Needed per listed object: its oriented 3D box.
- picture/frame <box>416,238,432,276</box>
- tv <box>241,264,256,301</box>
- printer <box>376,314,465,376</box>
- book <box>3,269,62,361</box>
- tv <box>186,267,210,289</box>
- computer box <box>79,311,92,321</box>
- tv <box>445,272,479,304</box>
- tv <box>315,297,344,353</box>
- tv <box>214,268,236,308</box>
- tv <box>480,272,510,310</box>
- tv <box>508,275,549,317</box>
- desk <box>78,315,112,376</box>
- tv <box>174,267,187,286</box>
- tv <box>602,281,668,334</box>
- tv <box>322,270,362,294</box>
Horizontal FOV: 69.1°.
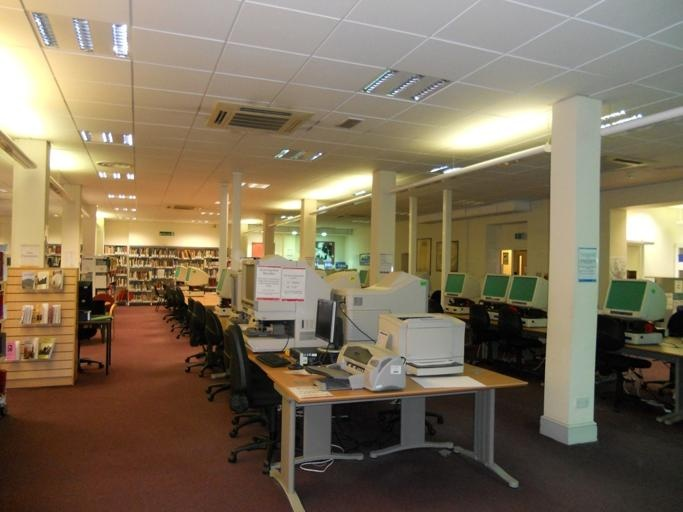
[{"bbox_3d":[2.847,-0.124,17.275,0.299,1.198,1.026,0,4,-10],"label":"picture/frame"},{"bbox_3d":[-1.076,0.282,5.760,0.239,0.433,0.456,1,-2,-11],"label":"tv"},{"bbox_3d":[0.741,0.767,4.823,0.689,0.439,0.625,0,0,-17],"label":"printer"},{"bbox_3d":[-4.216,0.790,6.808,0.697,1.275,0.276,1,4,-8],"label":"book"},{"bbox_3d":[-4.086,0.556,13.982,0.656,0.691,0.663,1,0,-21],"label":"tv"},{"bbox_3d":[-3.849,0.878,7.443,0.143,0.085,0.141,1,-3,-16],"label":"computer box"},{"bbox_3d":[2.459,0.580,9.846,0.586,0.544,0.556,-1,-4,-18],"label":"tv"},{"bbox_3d":[-0.117,0.725,5.261,0.281,0.543,0.564,1,-2,-15],"label":"tv"},{"bbox_3d":[-2.122,0.564,9.051,0.313,0.743,0.786,0,0,-14],"label":"tv"},{"bbox_3d":[2.716,0.620,8.783,0.347,0.650,0.512,13,-11,-23],"label":"tv"},{"bbox_3d":[3.212,0.614,8.117,0.606,0.776,0.756,6,-5,-26],"label":"tv"},{"bbox_3d":[-4.129,1.498,8.301,0.736,0.889,0.928,1,1,-18],"label":"desk"},{"bbox_3d":[-4.846,0.557,14.959,0.366,0.459,0.628,3,-3,-15],"label":"tv"},{"bbox_3d":[4.064,0.632,6.999,0.689,0.898,0.868,8,-10,-13],"label":"tv"},{"bbox_3d":[0.031,0.305,6.302,0.288,0.197,0.298,4,-5,-27],"label":"tv"}]
